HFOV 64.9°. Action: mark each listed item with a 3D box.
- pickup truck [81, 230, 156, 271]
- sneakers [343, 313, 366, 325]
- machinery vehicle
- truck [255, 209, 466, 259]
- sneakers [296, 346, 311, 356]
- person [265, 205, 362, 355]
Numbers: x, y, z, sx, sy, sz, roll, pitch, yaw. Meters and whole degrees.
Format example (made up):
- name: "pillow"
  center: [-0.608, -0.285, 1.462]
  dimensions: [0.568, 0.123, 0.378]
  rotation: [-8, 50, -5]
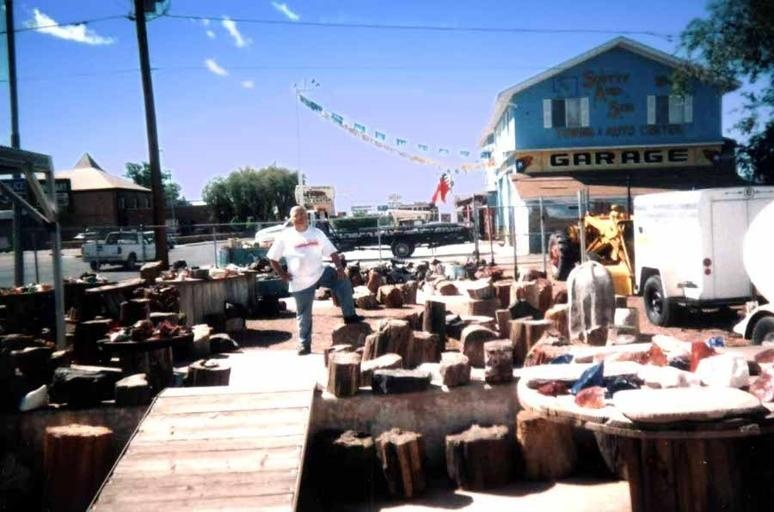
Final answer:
- name: "pickup truck"
  center: [-10.396, -0.230, 23.314]
  dimensions: [1.186, 0.966, 2.545]
  rotation: [1, 8, 14]
- name: "sneakers"
  center: [-0.465, 0.941, 9.132]
  dimensions: [0.389, 0.181, 0.136]
  rotation: [-4, 7, -11]
- name: "machinery vehicle"
  center: [5.084, -0.439, 16.123]
  dimensions: [1.659, 1.627, 3.047]
  rotation: [-10, 3, 6]
- name: "truck"
  center: [-0.430, -0.870, 27.584]
  dimensions: [9.442, 2.483, 2.271]
  rotation: [-5, -3, 27]
- name: "sneakers"
  center: [-1.178, 1.333, 8.649]
  dimensions: [0.197, 0.124, 0.143]
  rotation: [-4, 5, -14]
- name: "person"
  center: [-1.101, 0.302, 9.057]
  dimensions: [1.240, 2.097, 0.917]
  rotation: [-3, 4, -13]
